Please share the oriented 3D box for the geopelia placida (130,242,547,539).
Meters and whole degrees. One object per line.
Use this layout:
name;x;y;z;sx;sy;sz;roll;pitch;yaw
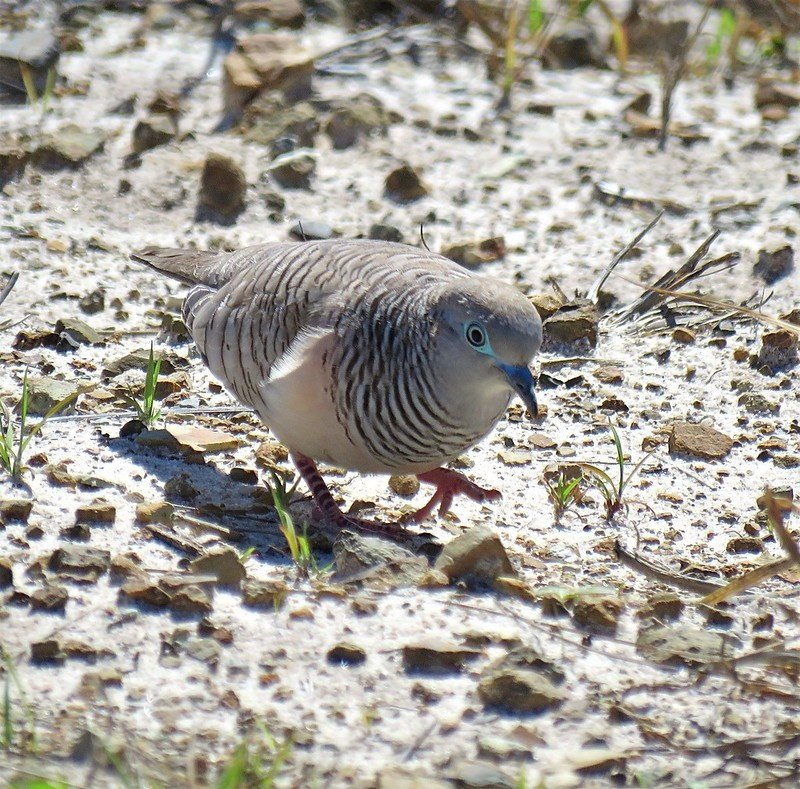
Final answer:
geopelia placida;-0.223;-0.215;3.538;1.626;0.665;0.606;34;42;32
